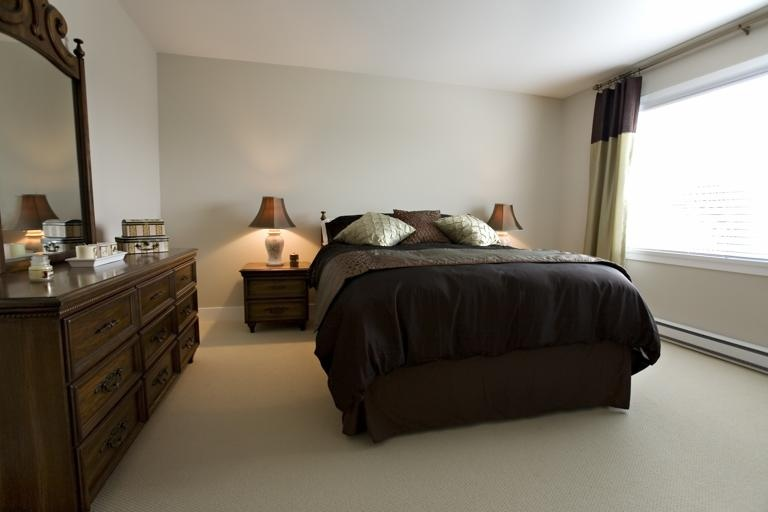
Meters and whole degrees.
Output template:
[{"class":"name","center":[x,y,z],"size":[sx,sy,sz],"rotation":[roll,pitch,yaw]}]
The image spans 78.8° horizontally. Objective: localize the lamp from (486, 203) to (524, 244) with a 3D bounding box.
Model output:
[{"class":"lamp","center":[1.395,-0.343,5.591],"size":[0.414,0.589,0.369],"rotation":[11,23,31]}]

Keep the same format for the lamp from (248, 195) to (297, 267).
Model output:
[{"class":"lamp","center":[-1.144,-0.250,4.903],"size":[0.578,0.732,0.601],"rotation":[-2,2,33]}]

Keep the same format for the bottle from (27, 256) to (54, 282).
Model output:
[{"class":"bottle","center":[-2.027,0.078,2.760],"size":[0.113,0.166,0.166],"rotation":[4,4,39]}]

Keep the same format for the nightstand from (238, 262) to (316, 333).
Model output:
[{"class":"nightstand","center":[-1.110,0.352,4.933],"size":[0.811,0.840,0.588],"rotation":[0,2,-14]}]

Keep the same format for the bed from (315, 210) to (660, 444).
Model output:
[{"class":"bed","center":[0.569,0.330,4.658],"size":[2.472,1.461,3.116],"rotation":[-2,6,-11]}]
